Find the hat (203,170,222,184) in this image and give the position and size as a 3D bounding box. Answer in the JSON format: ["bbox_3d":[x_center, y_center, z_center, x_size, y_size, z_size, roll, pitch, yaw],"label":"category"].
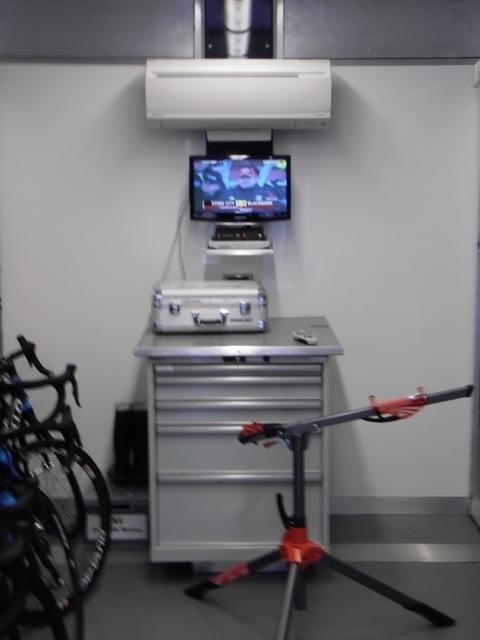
[{"bbox_3d":[-0.131,-0.660,2.829,0.063,0.070,0.049,-5,27,-4],"label":"hat"}]

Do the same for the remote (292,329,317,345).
[{"bbox_3d":[0.254,0.062,2.353,0.041,0.029,0.085,-2,20,-24],"label":"remote"}]

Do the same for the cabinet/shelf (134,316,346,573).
[{"bbox_3d":[-0.012,0.686,2.555,0.804,0.697,0.984,4,55,-5],"label":"cabinet/shelf"}]

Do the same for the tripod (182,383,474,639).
[{"bbox_3d":[0.256,0.565,2.303,0.822,0.803,0.845,0,2,4],"label":"tripod"}]

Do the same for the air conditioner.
[{"bbox_3d":[-0.003,-1.019,2.815,0.807,0.307,0.301,1,24,4],"label":"air conditioner"}]
